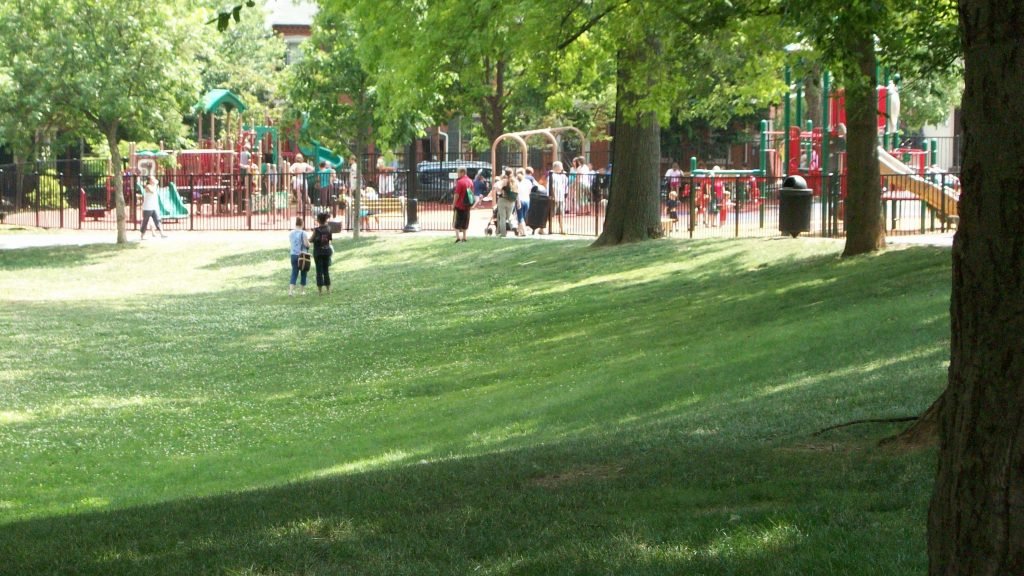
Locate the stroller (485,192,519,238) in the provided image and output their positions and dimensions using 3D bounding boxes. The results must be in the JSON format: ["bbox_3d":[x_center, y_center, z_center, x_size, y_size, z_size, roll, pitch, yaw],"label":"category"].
[{"bbox_3d":[-0.316,-2.207,41.287,1.331,1.797,1.141,3,-1,-13],"label":"stroller"}]

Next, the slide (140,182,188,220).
[{"bbox_3d":[-12.370,-3.004,45.628,1.834,1.941,0.278,4,-17,-42],"label":"slide"}]

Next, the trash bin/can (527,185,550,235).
[{"bbox_3d":[0.874,-2.427,40.718,0.692,1.572,0.805,2,11,7],"label":"trash bin/can"}]

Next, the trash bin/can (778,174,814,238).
[{"bbox_3d":[7.383,-2.091,33.597,0.817,1.595,0.789,2,11,8],"label":"trash bin/can"}]
